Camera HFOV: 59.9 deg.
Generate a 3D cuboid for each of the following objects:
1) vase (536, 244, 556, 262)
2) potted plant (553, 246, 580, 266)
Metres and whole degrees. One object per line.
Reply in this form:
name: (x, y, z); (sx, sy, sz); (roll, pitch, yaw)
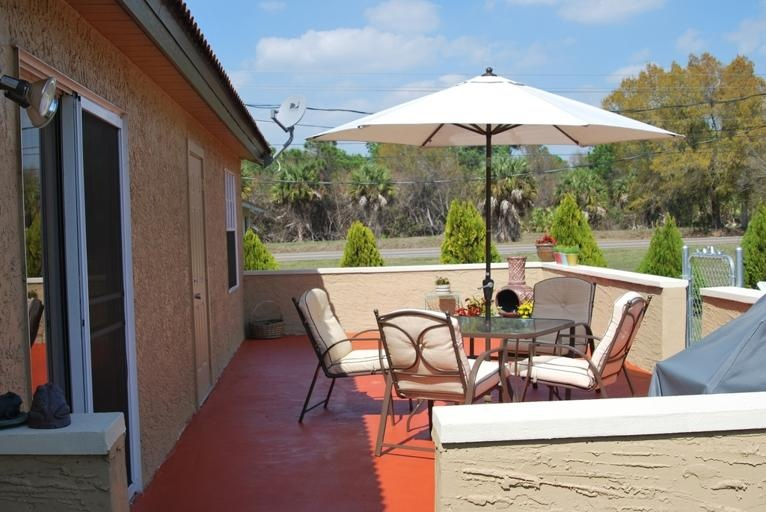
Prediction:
vase: (2.562, -0.039, 10.425); (0.235, 0.210, 0.255); (-1, -3, 1)
potted plant: (2.762, 0.002, 9.974); (0.284, 0.158, 0.266); (2, -4, -16)
